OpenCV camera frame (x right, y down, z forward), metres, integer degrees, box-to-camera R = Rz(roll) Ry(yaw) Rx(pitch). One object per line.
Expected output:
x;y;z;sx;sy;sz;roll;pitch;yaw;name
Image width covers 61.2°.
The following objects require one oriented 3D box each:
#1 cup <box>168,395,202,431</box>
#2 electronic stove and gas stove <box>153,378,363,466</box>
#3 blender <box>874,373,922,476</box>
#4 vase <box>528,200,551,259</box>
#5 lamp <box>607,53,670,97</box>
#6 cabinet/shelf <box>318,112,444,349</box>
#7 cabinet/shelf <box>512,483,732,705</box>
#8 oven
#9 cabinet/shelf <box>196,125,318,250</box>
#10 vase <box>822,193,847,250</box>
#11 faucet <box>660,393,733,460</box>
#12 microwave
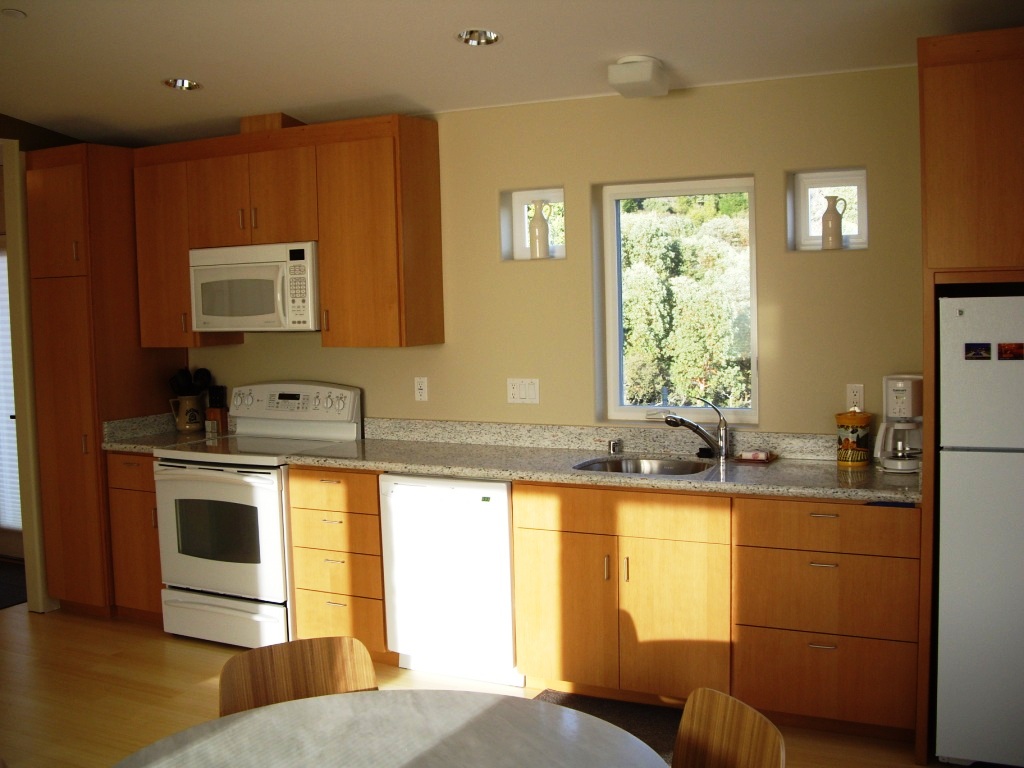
-1.973;0.186;5.281;0.166;0.216;0.220;5;6;42;cup
-1.317;0.199;4.849;1.159;0.348;0.678;1;10;19;electronic stove and gas stove
1.718;0.169;3.773;0.227;0.384;0.231;-4;5;-21;blender
0.143;-0.818;4.584;0.110;0.303;0.106;-1;9;6;vase
0.594;-1.439;4.034;0.262;0.145;0.367;2;10;22;lamp
-0.698;-0.801;4.586;0.679;1.194;0.387;-3;9;-4;cabinet/shelf
0.523;0.910;3.831;1.108;0.938;0.419;0;-1;18;cabinet/shelf
-1.463;0.790;4.880;0.945;0.821;0.644;1;3;22;oven
-1.375;-1.084;4.762;0.773;0.452;0.265;1;2;23;cabinet/shelf
1.509;-0.763;4.064;0.099;0.258;0.132;3;11;29;vase
0.917;0.214;4.210;0.286;0.292;0.491;0;10;15;faucet
-1.415;-0.533;4.807;0.771;0.470;0.485;1;3;22;microwave
